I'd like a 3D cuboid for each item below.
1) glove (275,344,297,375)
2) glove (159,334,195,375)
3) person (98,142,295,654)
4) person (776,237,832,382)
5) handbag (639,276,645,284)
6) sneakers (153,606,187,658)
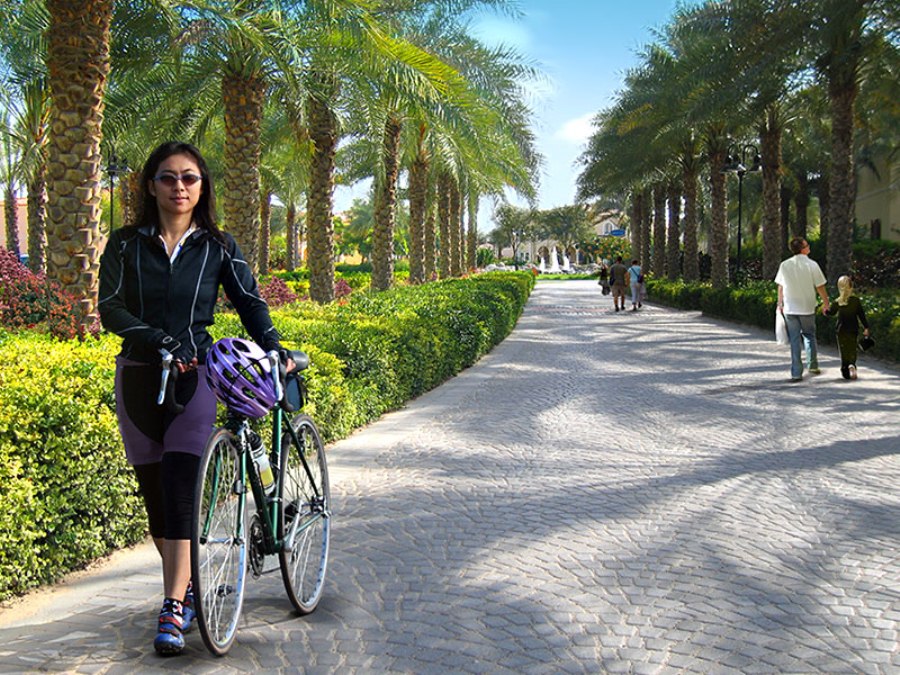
[{"bbox_3d":[-0.914,0.122,4.954,0.102,0.138,0.098,-10,8,-4],"label":"glove"},{"bbox_3d":[-1.389,0.084,4.545,0.062,0.145,0.175,-25,39,-29],"label":"glove"},{"bbox_3d":[-1.398,0.301,4.719,0.829,2.257,0.522,-3,2,-25],"label":"person"},{"bbox_3d":[5.157,-0.414,12.993,0.668,2.020,1.336,-2,2,22],"label":"person"},{"bbox_3d":[6.451,-1.961,30.117,0.108,0.266,0.439,-2,2,18],"label":"handbag"},{"bbox_3d":[-1.440,1.525,4.591,0.101,0.169,0.322,0,-9,-5],"label":"sneakers"}]
